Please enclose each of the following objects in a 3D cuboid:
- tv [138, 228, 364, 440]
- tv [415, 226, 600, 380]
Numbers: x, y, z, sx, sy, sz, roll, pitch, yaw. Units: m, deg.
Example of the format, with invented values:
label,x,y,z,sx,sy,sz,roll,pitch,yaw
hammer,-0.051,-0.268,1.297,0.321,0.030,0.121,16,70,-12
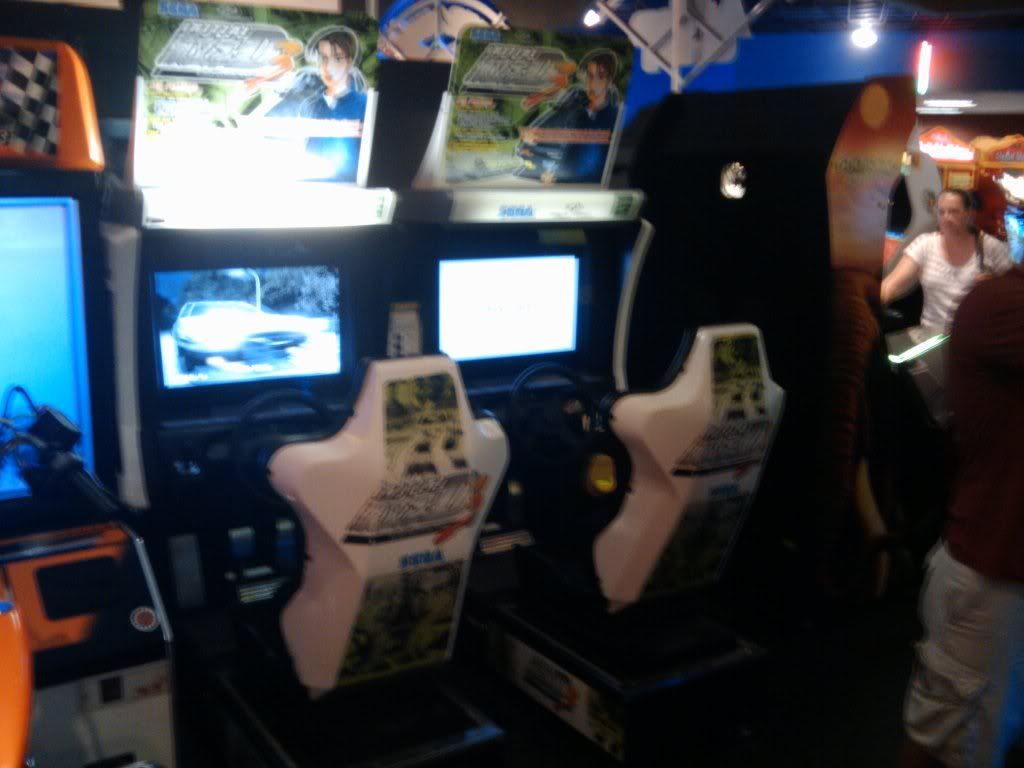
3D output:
label,x,y,z,sx,sy,sz,roll,pitch,yaw
tv,-0.900,-0.167,2.717,0.678,0.565,0.235,-3,6,-29
tv,-0.024,-0.273,3.523,0.974,0.812,0.500,-3,9,-33
